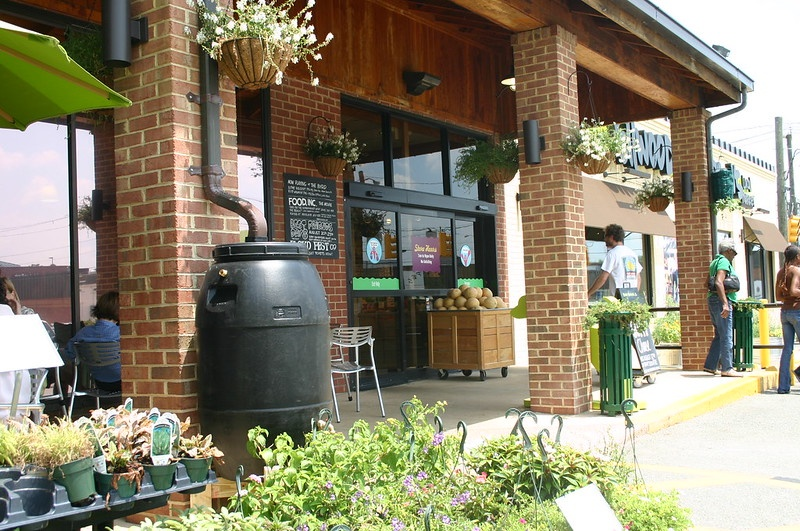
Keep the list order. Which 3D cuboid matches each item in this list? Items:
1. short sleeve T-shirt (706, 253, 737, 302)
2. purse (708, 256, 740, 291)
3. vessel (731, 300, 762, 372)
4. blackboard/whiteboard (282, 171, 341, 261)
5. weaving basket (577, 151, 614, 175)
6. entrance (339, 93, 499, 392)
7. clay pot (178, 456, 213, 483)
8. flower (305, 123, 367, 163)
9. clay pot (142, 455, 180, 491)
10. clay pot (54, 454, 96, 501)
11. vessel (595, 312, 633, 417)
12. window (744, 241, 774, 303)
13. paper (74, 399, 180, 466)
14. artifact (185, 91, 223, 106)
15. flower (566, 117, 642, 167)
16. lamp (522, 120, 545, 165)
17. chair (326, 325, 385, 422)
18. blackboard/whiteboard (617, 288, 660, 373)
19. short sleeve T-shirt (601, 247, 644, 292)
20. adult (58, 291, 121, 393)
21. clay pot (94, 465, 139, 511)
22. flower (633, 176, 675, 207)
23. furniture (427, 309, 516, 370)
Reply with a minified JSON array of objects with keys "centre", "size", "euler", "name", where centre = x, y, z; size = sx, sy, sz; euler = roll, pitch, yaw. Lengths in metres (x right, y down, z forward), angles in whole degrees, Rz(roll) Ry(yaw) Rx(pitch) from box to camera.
[{"centre":[5.044,0.158,11.964],"size":[0.394,0.667,0.709],"euler":[-2,9,18],"name":"short sleeve T-shirt"},{"centre":[5.091,0.143,11.938],"size":[0.359,0.575,0.609],"euler":[1,-1,32],"name":"purse"},{"centre":[5.474,1.117,12.467],"size":[0.638,1.081,0.734],"euler":[-4,-9,25],"name":"vessel"},{"centre":[-1.217,-0.682,10.258],"size":[0.045,1.331,1.208],"euler":[-6,-7,37],"name":"blackboard/whiteboard"},{"centre":[2.325,-1.209,9.271],"size":[0.381,0.225,0.479],"euler":[-9,-9,38],"name":"weaving basket"},{"centre":[0.195,-0.312,12.314],"size":[0.413,5.614,4.902],"euler":[-4,-3,37],"name":"entrance"},{"centre":[-1.268,1.272,4.813],"size":[0.160,0.114,0.158],"euler":[-1,-9,0],"name":"clay pot"},{"centre":[-0.970,-1.753,11.043],"size":[0.709,0.413,0.725],"euler":[4,-2,-5],"name":"flower"},{"centre":[-1.476,1.282,4.756],"size":[0.169,0.128,0.167],"euler":[-3,-7,0],"name":"clay pot"},{"centre":[-1.895,1.246,4.463],"size":[0.213,0.257,0.073],"euler":[0,-8,-26],"name":"clay pot"},{"centre":[2.578,1.263,9.427],"size":[0.464,1.138,0.421],"euler":[0,-5,-3],"name":"vessel"},{"centre":[13.870,0.223,29.946],"size":[0.130,2.480,2.295],"euler":[-9,-10,41],"name":"window"},{"centre":[-1.707,1.049,4.870],"size":[0.599,0.394,0.517],"euler":[-1,-8,-16],"name":"paper"},{"centre":[-1.594,-1.344,6.224],"size":[0.153,0.057,0.115],"euler":[-4,-8,24],"name":"artifact"},{"centre":[2.229,-1.510,9.541],"size":[1.036,0.579,1.017],"euler":[-2,4,-27],"name":"flower"},{"centre":[1.615,-1.499,9.429],"size":[0.245,0.514,0.181],"euler":[-2,-2,-37],"name":"lamp"},{"centre":[-0.736,1.318,9.780],"size":[0.876,1.157,0.870],"euler":[-4,-1,35],"name":"chair"},{"centre":[3.607,1.052,12.012],"size":[0.516,1.504,1.409],"euler":[-7,-11,19],"name":"blackboard/whiteboard"},{"centre":[3.417,0.046,11.556],"size":[0.834,0.680,0.258],"euler":[-4,16,1],"name":"short sleeve T-shirt"},{"centre":[-3.272,0.819,8.579],"size":[0.887,1.102,0.578],"euler":[3,11,-40],"name":"adult"},{"centre":[-1.684,1.319,4.589],"size":[0.228,0.157,0.226],"euler":[-1,-8,0],"name":"clay pot"},{"centre":[4.442,-1.341,13.447],"size":[0.515,0.402,0.546],"euler":[-7,-7,41],"name":"flower"},{"centre":[1.154,1.204,12.482],"size":[1.376,0.895,1.404],"euler":[-2,-4,8],"name":"furniture"}]
